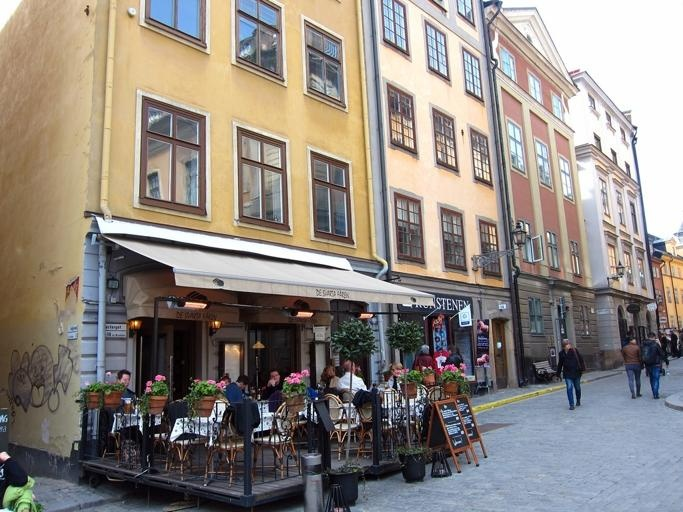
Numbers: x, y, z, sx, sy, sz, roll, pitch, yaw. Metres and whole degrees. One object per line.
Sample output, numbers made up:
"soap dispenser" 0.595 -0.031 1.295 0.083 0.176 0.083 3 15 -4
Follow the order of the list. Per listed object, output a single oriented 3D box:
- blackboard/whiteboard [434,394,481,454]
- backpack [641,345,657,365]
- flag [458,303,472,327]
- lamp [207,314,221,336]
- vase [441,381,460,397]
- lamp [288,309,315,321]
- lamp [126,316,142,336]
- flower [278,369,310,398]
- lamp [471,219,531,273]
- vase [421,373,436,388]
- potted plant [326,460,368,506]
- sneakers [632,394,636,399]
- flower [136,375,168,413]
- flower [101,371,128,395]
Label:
"blackboard/whiteboard" 2.191 3.277 10.203 0.408 1.031 1.266 -29 -23 23
"backpack" 9.962 3.235 17.149 0.463 0.750 0.376 -11 -40 39
"flag" 4.633 2.263 20.066 0.100 1.054 0.720 -13 -19 40
"lamp" -3.001 1.655 12.497 0.315 0.374 0.671 -1 -15 -14
"vase" 2.241 2.722 10.831 0.283 0.232 0.301 2 -23 -4
"lamp" -1.033 1.557 13.806 0.451 0.116 0.334 4 12 -20
"lamp" -4.467 1.519 11.389 0.326 0.277 0.335 1 -18 -13
"flower" -0.785 2.174 8.897 0.418 0.375 0.271 2 -16 -26
"lamp" 6.337 -0.307 21.438 2.421 1.852 0.443 -13 -10 42
"vase" 1.842 2.657 11.243 0.253 0.207 0.264 3 -13 -21
"potted plant" 0.119 3.466 8.277 0.515 0.822 0.710 -14 -17 37
"sneakers" 9.370 4.537 17.004 0.118 0.150 0.123 3 -12 -16
"flower" -3.152 2.335 8.877 0.428 0.646 0.342 2 -15 -24
"flower" -4.330 2.463 10.264 0.440 0.387 0.503 -6 -9 43
